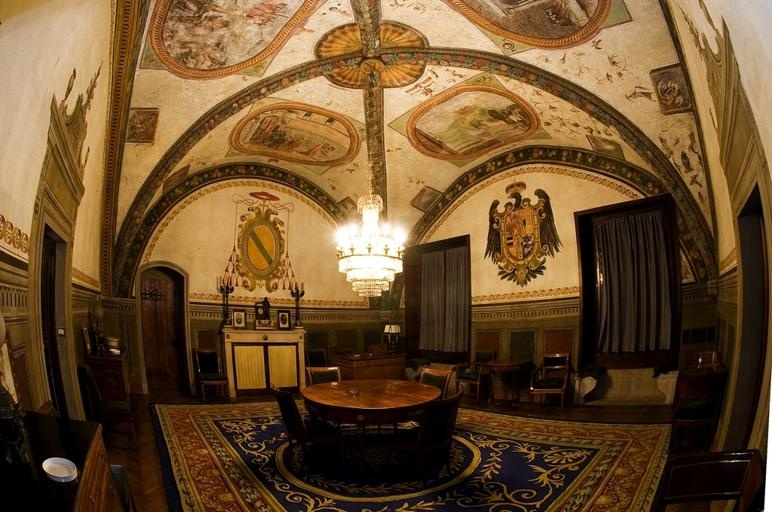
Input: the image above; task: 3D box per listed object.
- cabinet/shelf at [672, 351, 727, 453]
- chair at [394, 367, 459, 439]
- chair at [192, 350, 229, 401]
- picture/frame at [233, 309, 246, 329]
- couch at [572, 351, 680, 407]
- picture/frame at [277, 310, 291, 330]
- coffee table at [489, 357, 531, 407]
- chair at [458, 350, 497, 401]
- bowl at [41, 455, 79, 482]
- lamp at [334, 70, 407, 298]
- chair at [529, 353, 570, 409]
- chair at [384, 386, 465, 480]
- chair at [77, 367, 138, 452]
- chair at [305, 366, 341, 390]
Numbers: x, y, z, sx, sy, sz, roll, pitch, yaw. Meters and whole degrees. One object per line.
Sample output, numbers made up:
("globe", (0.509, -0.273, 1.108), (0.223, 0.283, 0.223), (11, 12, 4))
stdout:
("cabinet/shelf", (4.122, 1.857, 7.383), (0.557, 0.956, 1.933), (5, 4, 17))
("chair", (0.810, 2.058, 8.547), (0.565, 0.635, 0.968), (15, 36, 0))
("chair", (-3.457, 2.312, 10.588), (0.639, 0.968, 0.959), (0, 1, -21))
("picture/frame", (-3.161, 1.342, 11.521), (0.364, 0.415, 0.059), (12, -28, -38))
("couch", (4.267, 2.187, 9.335), (1.704, 0.942, 0.688), (-12, -13, 39))
("picture/frame", (-2.307, 1.416, 12.069), (0.357, 0.465, 0.052), (12, -30, -39))
("coffee table", (2.391, 2.215, 10.418), (0.736, 0.680, 1.352), (-5, -10, 24))
("chair", (1.845, 2.378, 10.886), (0.715, 1.005, 0.829), (-4, -7, 31))
("bowl", (-2.244, 1.452, 3.676), (0.245, 0.120, 0.146), (0, 1, 14))
("lamp", (-0.203, -1.115, 8.791), (1.041, 3.365, 1.003), (1, -4, -18))
("chair", (3.022, 2.209, 9.671), (0.871, 0.929, 0.856), (-1, -5, -13))
("chair", (0.484, 2.258, 6.856), (0.807, 1.131, 0.795), (4, 3, 23))
("chair", (-3.831, 2.037, 7.416), (0.804, 1.075, 0.792), (1, -1, -3))
("chair", (-0.974, 1.924, 8.556), (0.382, 0.655, 0.402), (4, -11, -23))
